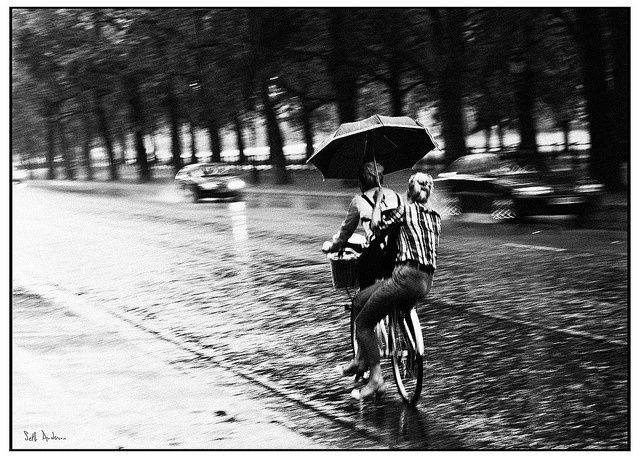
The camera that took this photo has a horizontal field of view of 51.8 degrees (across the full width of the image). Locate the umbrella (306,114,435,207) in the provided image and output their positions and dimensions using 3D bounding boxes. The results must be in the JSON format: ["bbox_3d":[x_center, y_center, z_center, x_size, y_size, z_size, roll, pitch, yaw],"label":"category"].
[{"bbox_3d":[0.648,-0.794,8.066,1.602,0.958,1.581,-2,-16,-12],"label":"umbrella"}]

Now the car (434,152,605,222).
[{"bbox_3d":[4.901,-1.056,15.884,1.657,1.103,3.586,-3,2,-26],"label":"car"}]

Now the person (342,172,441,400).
[{"bbox_3d":[0.891,0.686,7.525,0.942,2.630,0.323,0,7,20],"label":"person"}]

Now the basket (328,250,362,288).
[{"bbox_3d":[0.290,0.497,8.090,0.442,0.488,0.427,0,2,-1],"label":"basket"}]

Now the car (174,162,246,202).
[{"bbox_3d":[-3.410,-1.474,20.584,2.200,0.670,1.072,-2,2,45],"label":"car"}]
